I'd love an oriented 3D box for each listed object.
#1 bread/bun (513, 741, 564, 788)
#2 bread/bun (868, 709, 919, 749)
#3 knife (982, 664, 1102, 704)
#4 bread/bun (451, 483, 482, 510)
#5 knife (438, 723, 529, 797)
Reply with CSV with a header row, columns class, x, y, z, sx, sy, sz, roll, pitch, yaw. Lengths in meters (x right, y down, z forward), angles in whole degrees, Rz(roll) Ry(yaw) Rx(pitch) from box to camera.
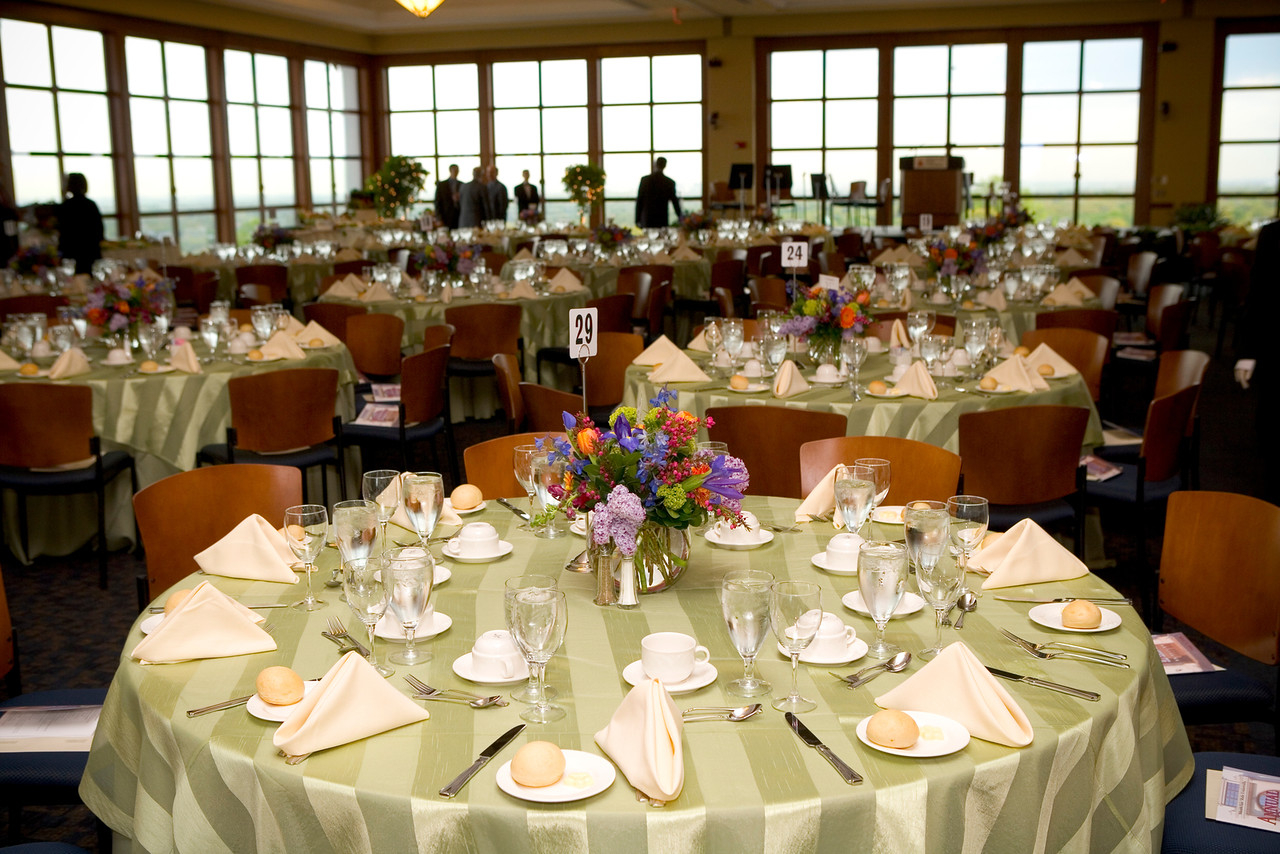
class,x,y,z,sx,sy,sz,roll,pitch,yaw
bread/bun,-0.203,0.652,1.829,0.072,0.070,0.083,7,13,10
bread/bun,0.527,0.618,1.945,0.105,0.057,0.068,2,12,15
knife,0.911,0.578,2.122,0.295,0.018,0.036,11,38,28
bread/bun,-0.594,0.226,3.210,0.093,0.088,0.081,-10,35,-30
knife,-0.316,0.670,1.912,0.046,0.013,0.286,4,16,19
